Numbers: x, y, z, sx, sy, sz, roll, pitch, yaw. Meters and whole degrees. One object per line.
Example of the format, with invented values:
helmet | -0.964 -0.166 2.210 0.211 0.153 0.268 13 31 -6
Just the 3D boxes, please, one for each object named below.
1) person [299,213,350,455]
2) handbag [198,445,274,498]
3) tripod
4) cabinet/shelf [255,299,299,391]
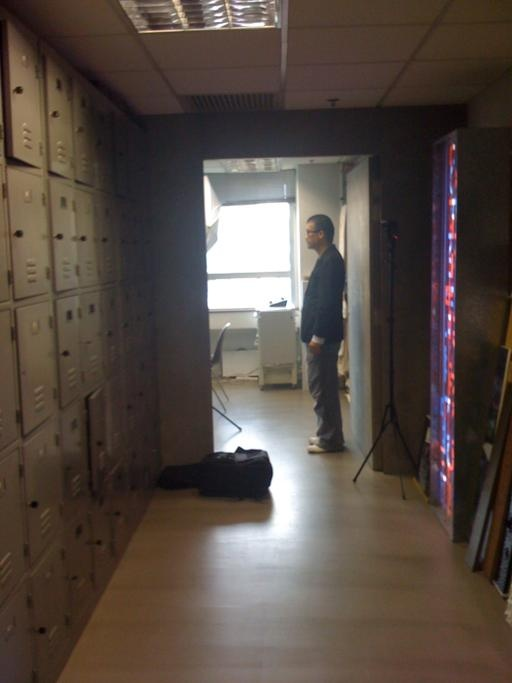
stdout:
person | 0.471 -0.052 4.000 0.311 1.673 0.368 -1 6 6
handbag | -0.120 0.785 3.400 0.261 0.200 0.290 2 0 1
tripod | 0.778 0.098 3.443 0.391 1.536 0.356 1 7 27
cabinet/shelf | 0.237 0.072 5.977 0.438 0.862 0.369 -1 6 4
